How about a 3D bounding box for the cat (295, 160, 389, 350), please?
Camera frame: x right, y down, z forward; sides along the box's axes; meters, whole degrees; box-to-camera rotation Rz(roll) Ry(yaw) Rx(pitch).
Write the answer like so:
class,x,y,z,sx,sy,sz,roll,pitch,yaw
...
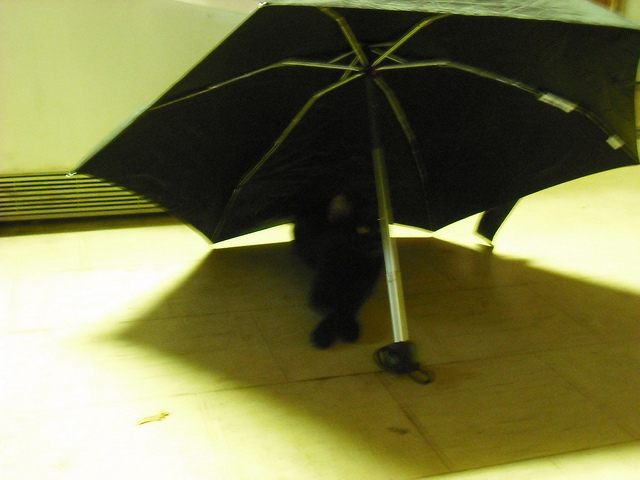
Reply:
class,x,y,z,sx,sy,sz,roll,pitch,yaw
cat,0.016,0.089,2.118,0.275,0.412,0.824,8,36,-10
